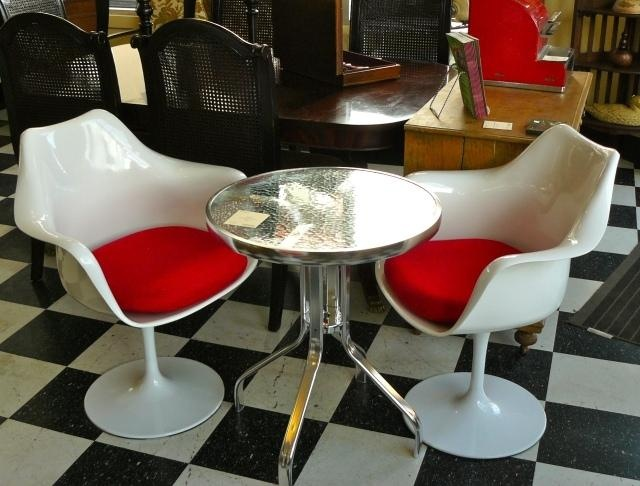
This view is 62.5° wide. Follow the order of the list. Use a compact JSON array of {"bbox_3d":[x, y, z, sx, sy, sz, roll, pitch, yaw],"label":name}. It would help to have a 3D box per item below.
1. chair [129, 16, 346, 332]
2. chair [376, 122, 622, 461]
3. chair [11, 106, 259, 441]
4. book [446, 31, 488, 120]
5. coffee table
[{"bbox_3d":[-0.286,-0.488,2.568,0.775,1.177,0.873,22,36,36],"label":"chair"},{"bbox_3d":[0.564,0.165,1.836,0.663,1.015,0.863,-9,21,-11],"label":"chair"},{"bbox_3d":[-0.672,0.116,1.950,0.759,0.994,0.867,11,22,10],"label":"chair"},{"bbox_3d":[0.587,-0.665,2.082,0.196,0.307,0.267,6,29,11],"label":"book"},{"bbox_3d":[0.019,0.223,2.048,0.917,1.049,0.919,-1,30,0],"label":"coffee table"}]
